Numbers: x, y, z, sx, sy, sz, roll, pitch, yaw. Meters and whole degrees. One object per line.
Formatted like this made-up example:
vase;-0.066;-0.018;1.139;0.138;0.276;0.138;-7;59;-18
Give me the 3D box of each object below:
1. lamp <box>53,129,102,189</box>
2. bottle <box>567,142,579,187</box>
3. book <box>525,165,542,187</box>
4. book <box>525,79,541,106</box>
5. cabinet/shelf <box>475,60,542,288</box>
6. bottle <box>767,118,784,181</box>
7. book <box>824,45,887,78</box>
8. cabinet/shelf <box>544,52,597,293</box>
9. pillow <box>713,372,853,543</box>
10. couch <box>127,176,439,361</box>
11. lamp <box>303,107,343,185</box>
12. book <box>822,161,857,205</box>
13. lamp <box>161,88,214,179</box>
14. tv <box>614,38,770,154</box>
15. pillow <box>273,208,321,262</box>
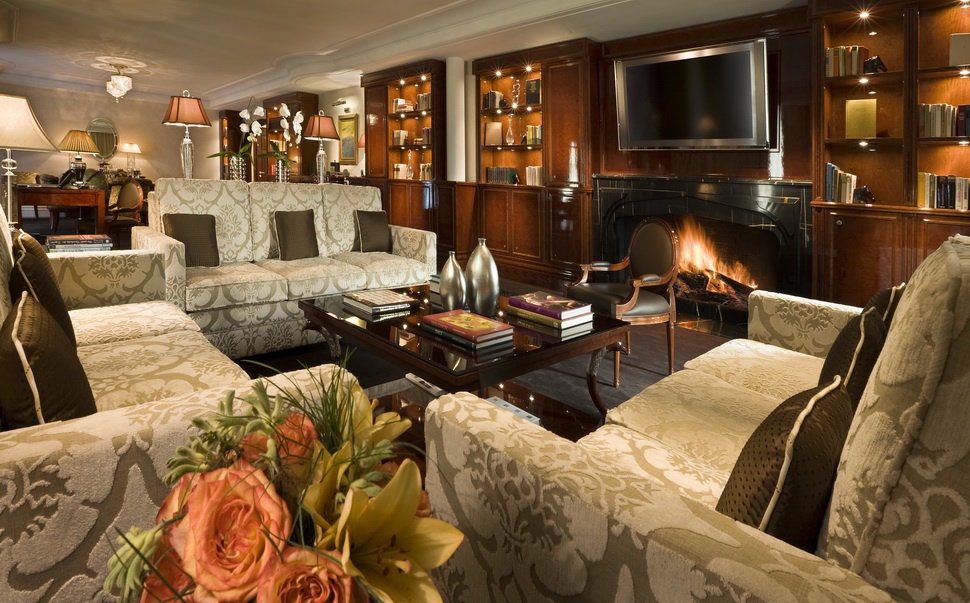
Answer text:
lamp;-6.846;-2.381;9.280;0.559;0.892;0.580;14;14;38
bottle;0.934;-1.421;5.743;0.100;0.442;0.124;0;15;12
book;0.567;-1.429;6.310;0.124;0.214;0.306;-7;16;-15
book;0.543;-2.337;6.173;0.169;0.279;0.110;3;16;21
cabinet/shelf;0.363;-1.515;6.558;1.137;2.457;0.303;12;21;41
bottle;2.441;-1.285;4.592;0.132;0.502;0.072;5;17;28
book;2.565;-1.669;3.855;0.339;0.148;0.256;-6;10;-33
cabinet/shelf;0.899;-1.409;5.965;0.256;2.447;0.667;-22;28;-39
pillow;0.722;0.391;1.349;0.219;0.431;0.460;8;-21;21
couch;-1.581;-0.327;4.594;2.159;1.214;1.133;-9;19;-42
lamp;-1.954;-1.817;6.611;0.403;0.821;0.423;8;10;42
book;2.553;-0.852;4.000;0.100;0.303;0.236;0;6;19
lamp;-2.745;-1.499;5.076;0.421;0.783;0.409;-3;10;-22
tv;1.791;-1.768;4.888;1.469;0.855;0.063;-6;7;-5
pillow;-1.581;-0.562;4.623;0.116;0.395;0.440;-16;-5;34
